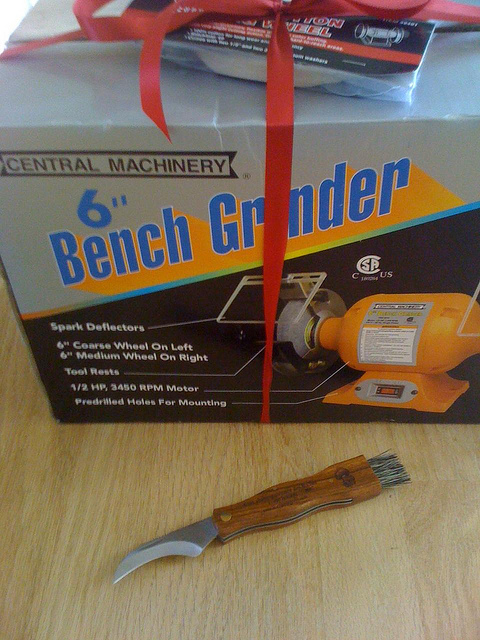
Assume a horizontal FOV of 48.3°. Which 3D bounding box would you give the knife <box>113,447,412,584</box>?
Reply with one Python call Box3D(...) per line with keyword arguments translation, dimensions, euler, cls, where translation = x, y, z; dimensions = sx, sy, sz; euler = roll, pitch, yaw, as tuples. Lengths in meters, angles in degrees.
Box3D(translation=(0.023, 0.188, 0.498), dimensions=(0.230, 0.025, 0.038), euler=(-11, 41, -7), cls="knife")
